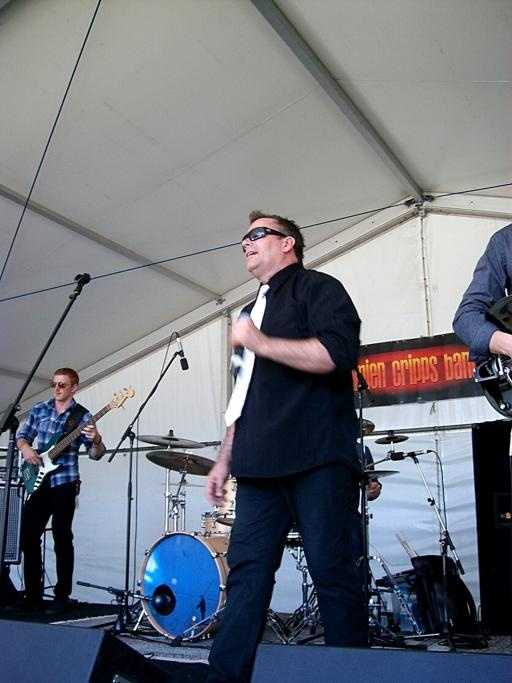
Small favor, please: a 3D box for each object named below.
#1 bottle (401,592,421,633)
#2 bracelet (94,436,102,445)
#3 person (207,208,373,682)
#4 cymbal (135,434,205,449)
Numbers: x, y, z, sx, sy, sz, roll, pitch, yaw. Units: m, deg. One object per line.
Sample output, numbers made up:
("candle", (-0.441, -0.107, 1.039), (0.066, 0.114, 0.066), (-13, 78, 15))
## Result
("bottle", (1.014, 1.792, 4.276), (0.107, 0.262, 0.233), (-1, -12, -3))
("bracelet", (-1.119, 0.697, 4.538), (0.057, 0.057, 0.024), (-9, -12, 32))
("person", (0.088, 0.252, 1.637), (0.381, 1.034, 0.447), (-3, -13, 5))
("cymbal", (-0.642, 0.737, 4.722), (0.277, 0.050, 0.271), (21, -25, -35))
